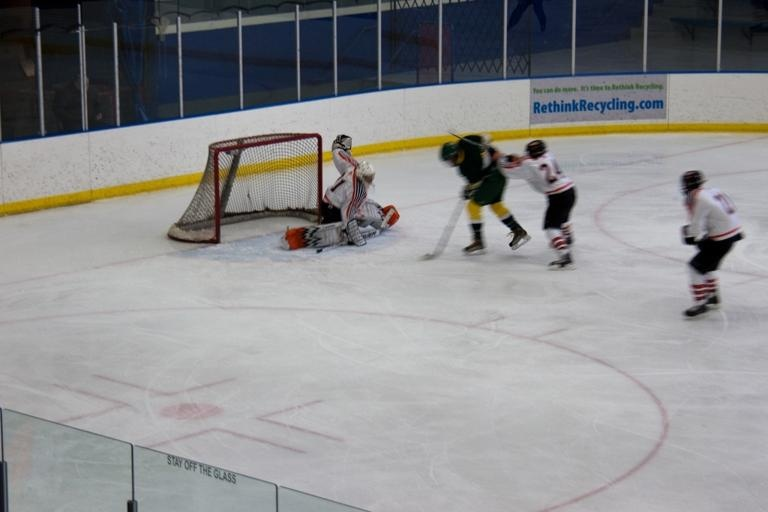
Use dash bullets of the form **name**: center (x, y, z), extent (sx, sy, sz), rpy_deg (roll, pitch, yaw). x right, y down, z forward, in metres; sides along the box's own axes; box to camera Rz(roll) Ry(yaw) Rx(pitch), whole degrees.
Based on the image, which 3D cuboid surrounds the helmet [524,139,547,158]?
- **helmet**: center (1.676, -1.171, 9.571), extent (0.220, 0.184, 0.273), rpy_deg (0, 10, 9)

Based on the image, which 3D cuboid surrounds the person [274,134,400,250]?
- **person**: center (-0.537, -0.789, 10.635), extent (1.046, 1.337, 1.091), rpy_deg (2, 11, 20)

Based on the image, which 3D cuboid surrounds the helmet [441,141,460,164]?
- **helmet**: center (0.757, -1.175, 9.987), extent (0.195, 0.228, 0.224), rpy_deg (-1, 10, 2)

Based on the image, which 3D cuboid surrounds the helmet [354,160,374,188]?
- **helmet**: center (-0.243, -0.996, 10.426), extent (0.303, 0.286, 0.327), rpy_deg (-9, 24, -10)

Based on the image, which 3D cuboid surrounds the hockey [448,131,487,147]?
- **hockey**: center (1.017, -1.321, 10.009), extent (0.347, 0.121, 0.231), rpy_deg (-1, 9, 2)

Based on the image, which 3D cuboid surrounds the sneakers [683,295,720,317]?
- **sneakers**: center (3.064, 0.484, 8.393), extent (0.326, 0.152, 0.088), rpy_deg (-16, 37, 4)

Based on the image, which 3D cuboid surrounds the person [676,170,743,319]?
- **person**: center (3.089, -0.101, 8.217), extent (0.544, 1.386, 0.424), rpy_deg (0, 12, 8)

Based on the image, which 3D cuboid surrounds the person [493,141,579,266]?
- **person**: center (1.719, -0.575, 9.687), extent (0.781, 1.401, 0.370), rpy_deg (0, 12, 8)
